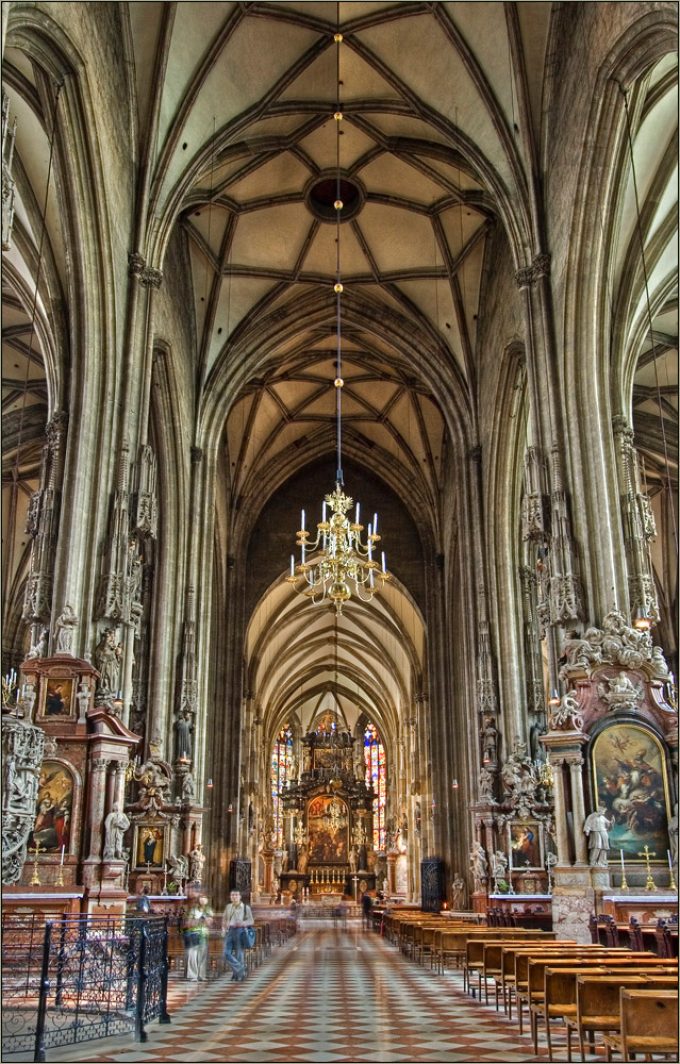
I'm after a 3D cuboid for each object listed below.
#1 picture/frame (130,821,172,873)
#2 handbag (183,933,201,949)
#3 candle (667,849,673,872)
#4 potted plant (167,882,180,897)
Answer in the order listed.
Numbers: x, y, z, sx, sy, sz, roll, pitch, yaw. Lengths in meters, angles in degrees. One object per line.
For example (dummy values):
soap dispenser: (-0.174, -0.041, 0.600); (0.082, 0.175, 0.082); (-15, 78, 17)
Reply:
picture/frame: (-4.056, 6.725, 15.681); (0.778, 1.012, 0.310); (8, -24, -17)
handbag: (-1.862, 5.158, 9.268); (0.118, 0.164, 0.419); (14, -30, -28)
candle: (4.117, 4.131, 9.208); (0.051, 0.217, 0.111); (-9, -25, 21)
potted plant: (-3.461, 7.438, 15.273); (0.278, 0.351, 0.265); (2, -18, -8)
